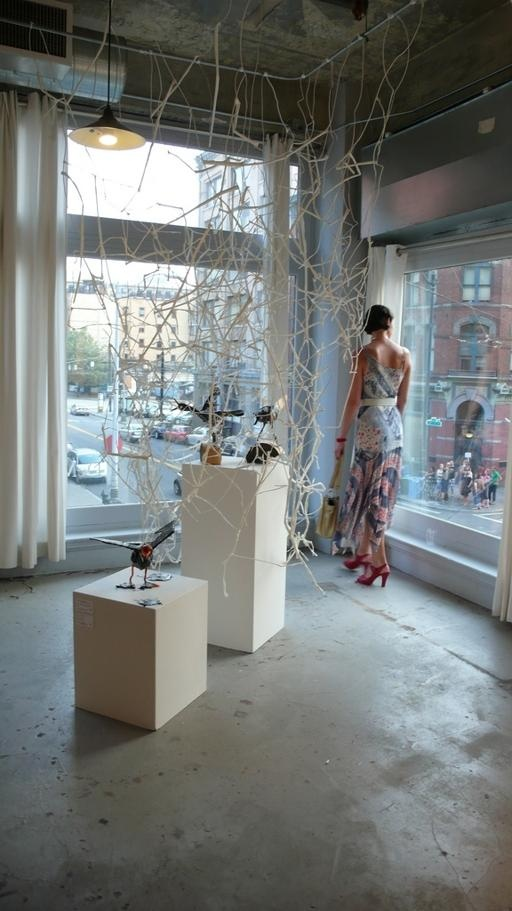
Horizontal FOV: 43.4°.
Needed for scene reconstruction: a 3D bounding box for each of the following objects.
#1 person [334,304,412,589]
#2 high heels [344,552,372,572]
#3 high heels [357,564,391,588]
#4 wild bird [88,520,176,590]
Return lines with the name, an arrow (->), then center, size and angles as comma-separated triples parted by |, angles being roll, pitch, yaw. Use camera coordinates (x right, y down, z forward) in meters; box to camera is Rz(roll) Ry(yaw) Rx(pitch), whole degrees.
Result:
person -> 0.650, -0.039, 3.839 | 0.374, 1.653, 0.458 | 5, 6, 38
high heels -> 0.644, 0.683, 4.098 | 0.192, 0.105, 0.071 | 1, 10, 32
high heels -> 0.716, 0.717, 3.905 | 0.195, 0.162, 0.109 | 3, 6, 14
wild bird -> -0.417, 0.368, 2.312 | 0.341, 0.243, 0.152 | 0, 13, -32
